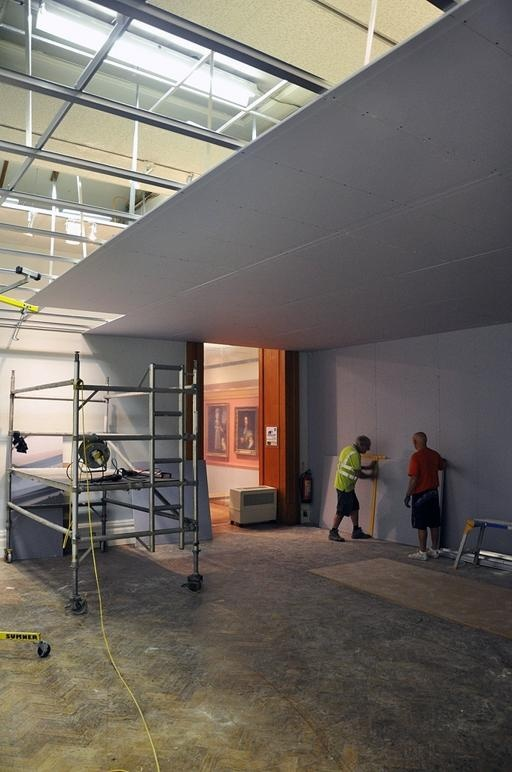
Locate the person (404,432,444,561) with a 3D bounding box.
[{"bbox_3d":[2.070,1.344,6.821,0.431,1.525,0.654,-2,-6,23],"label":"person"}]

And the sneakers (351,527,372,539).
[{"bbox_3d":[1.539,2.109,8.013,0.331,0.197,0.112,-2,1,-24],"label":"sneakers"}]

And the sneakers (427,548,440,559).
[{"bbox_3d":[2.164,2.045,6.763,0.078,0.095,0.154,1,-2,0],"label":"sneakers"}]

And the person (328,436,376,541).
[{"bbox_3d":[1.362,1.457,7.894,0.657,1.486,0.864,-1,-6,17],"label":"person"}]

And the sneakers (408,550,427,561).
[{"bbox_3d":[1.971,2.058,6.747,0.230,0.106,0.087,0,-6,26],"label":"sneakers"}]

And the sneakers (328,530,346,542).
[{"bbox_3d":[1.133,2.131,7.902,0.097,0.197,0.284,4,-9,-40],"label":"sneakers"}]

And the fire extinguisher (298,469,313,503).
[{"bbox_3d":[0.850,1.720,9.393,0.240,0.581,0.119,5,-7,-43],"label":"fire extinguisher"}]
